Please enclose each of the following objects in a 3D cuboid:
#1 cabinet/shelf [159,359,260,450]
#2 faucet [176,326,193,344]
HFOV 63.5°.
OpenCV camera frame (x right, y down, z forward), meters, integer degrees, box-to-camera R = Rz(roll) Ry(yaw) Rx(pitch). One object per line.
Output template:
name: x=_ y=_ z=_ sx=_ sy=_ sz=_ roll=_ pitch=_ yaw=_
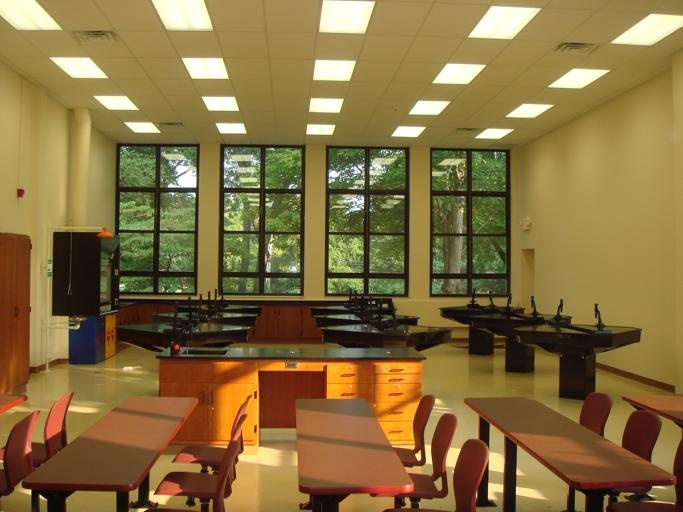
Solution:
cabinet/shelf: x=-1.575 y=1.792 z=6.587 sx=1.369 sy=1.012 sz=0.625 roll=1 pitch=-6 yaw=-5
faucet: x=-2.333 y=1.187 z=8.197 sx=0.287 sy=0.221 sz=0.140 roll=-1 pitch=-7 yaw=9
